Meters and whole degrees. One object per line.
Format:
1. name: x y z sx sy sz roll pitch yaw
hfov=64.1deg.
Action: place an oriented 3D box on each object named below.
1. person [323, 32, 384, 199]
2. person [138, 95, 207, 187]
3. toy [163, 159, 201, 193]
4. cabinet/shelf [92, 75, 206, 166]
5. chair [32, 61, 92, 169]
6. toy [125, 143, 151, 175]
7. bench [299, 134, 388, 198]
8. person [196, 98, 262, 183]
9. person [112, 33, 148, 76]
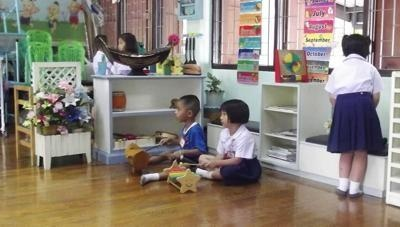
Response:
1. person: 1.757 0.001 3.679 0.627 1.806 0.545 -4 11 -6
2. person: -0.266 0.190 4.755 1.231 1.053 0.842 -2 6 -12
3. toy: -0.197 0.713 3.781 0.372 0.300 0.450 -6 11 -21
4. cabinet/shelf: -0.781 0.095 4.598 1.474 0.927 0.537 -3 5 -33
5. chair: -1.932 0.004 4.371 0.737 1.410 0.535 -6 11 -18
6. toy: -0.860 0.576 4.217 0.216 0.362 0.332 -11 14 -39
7. bench: 1.729 0.438 3.797 0.638 0.468 1.098 -1 7 -43
8. person: 0.391 0.287 4.408 1.057 1.155 1.045 -3 6 -21
9. person: -1.130 -0.806 4.967 0.590 0.852 0.834 1 5 -8
